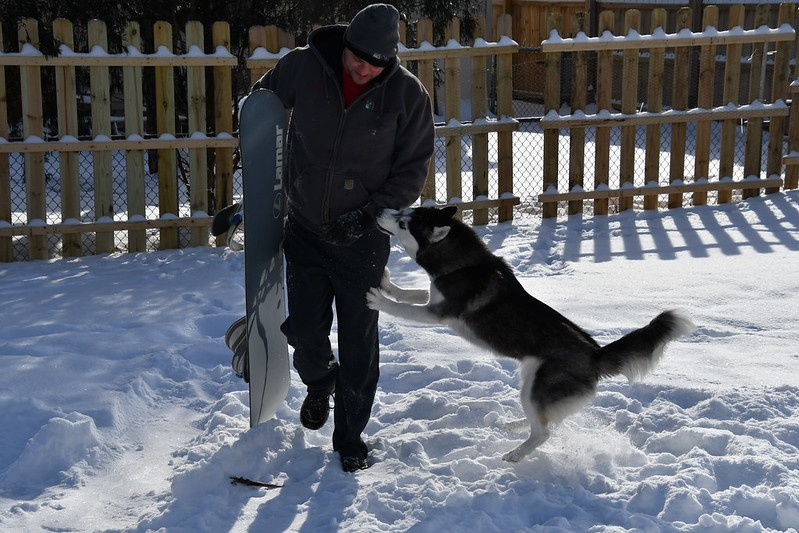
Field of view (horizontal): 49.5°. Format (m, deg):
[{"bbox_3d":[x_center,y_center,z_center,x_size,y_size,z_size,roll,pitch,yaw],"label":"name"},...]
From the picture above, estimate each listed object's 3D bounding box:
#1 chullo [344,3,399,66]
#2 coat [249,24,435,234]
[{"bbox_3d":[-0.187,-1.907,6.945,0.361,0.392,0.500,30,27,-16],"label":"chullo"},{"bbox_3d":[-0.395,-1.105,7.103,1.319,1.679,0.473,1,11,-2],"label":"coat"}]
